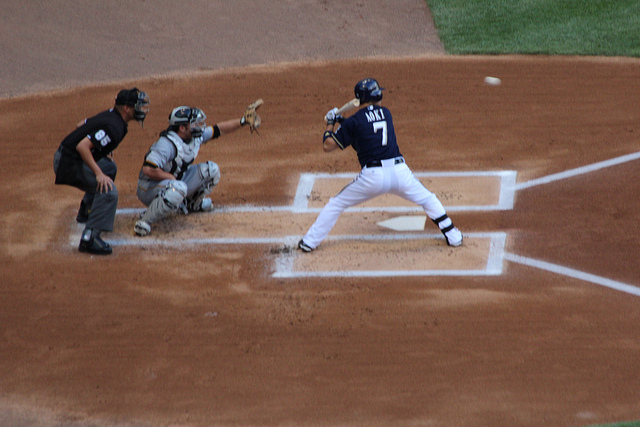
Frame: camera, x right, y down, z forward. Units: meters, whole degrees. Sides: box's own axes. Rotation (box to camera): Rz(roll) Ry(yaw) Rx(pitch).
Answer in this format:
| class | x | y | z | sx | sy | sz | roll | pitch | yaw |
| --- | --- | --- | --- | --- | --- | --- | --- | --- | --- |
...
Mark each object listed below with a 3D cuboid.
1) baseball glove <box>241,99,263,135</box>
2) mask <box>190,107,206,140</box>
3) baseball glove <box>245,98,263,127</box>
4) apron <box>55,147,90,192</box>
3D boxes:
| class | x | y | z | sx | sy | sz | roll | pitch | yaw |
| --- | --- | --- | --- | --- | --- | --- | --- | --- | --- |
| baseball glove | -1.130 | -1.529 | 17.694 | 0.273 | 0.583 | 0.231 | -2 | 42 | -20 |
| mask | -1.883 | -1.395 | 17.348 | 0.362 | 0.377 | 0.271 | -6 | 17 | -5 |
| baseball glove | -1.045 | -1.570 | 17.563 | 0.194 | 0.398 | 0.304 | 7 | 51 | -14 |
| apron | -3.779 | -0.716 | 17.335 | 0.427 | 0.600 | 0.324 | 15 | 26 | 5 |
